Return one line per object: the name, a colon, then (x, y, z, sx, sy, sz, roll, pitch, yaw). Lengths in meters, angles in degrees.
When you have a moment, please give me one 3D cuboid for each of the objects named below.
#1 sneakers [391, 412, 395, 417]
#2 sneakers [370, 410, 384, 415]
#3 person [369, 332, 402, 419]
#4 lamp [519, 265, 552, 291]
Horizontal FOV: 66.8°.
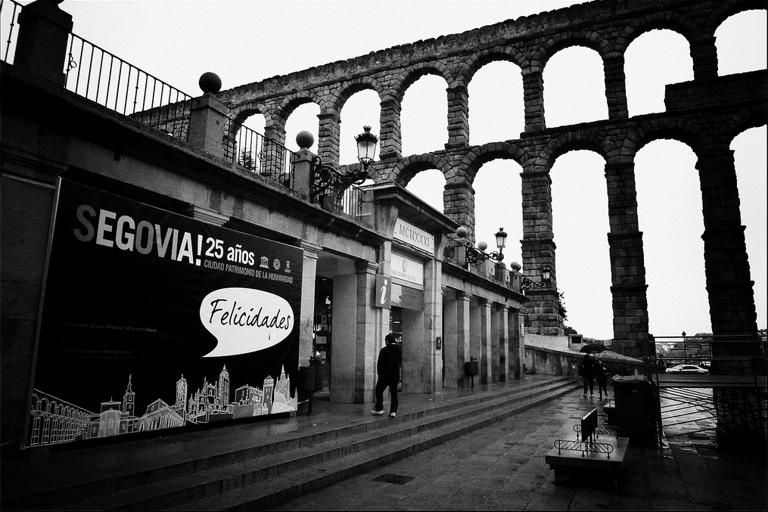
sneakers: (0.247, 4.106, 15.307, 0.084, 0.109, 0.117, 11, -12, 37)
sneakers: (-0.189, 4.111, 15.581, 0.348, 0.168, 0.137, 0, -7, 30)
person: (0.091, 3.192, 15.857, 0.718, 1.635, 1.250, 3, -2, -1)
lamp: (10.023, 1.370, 38.005, 1.875, 1.657, 0.526, -1, -7, -3)
